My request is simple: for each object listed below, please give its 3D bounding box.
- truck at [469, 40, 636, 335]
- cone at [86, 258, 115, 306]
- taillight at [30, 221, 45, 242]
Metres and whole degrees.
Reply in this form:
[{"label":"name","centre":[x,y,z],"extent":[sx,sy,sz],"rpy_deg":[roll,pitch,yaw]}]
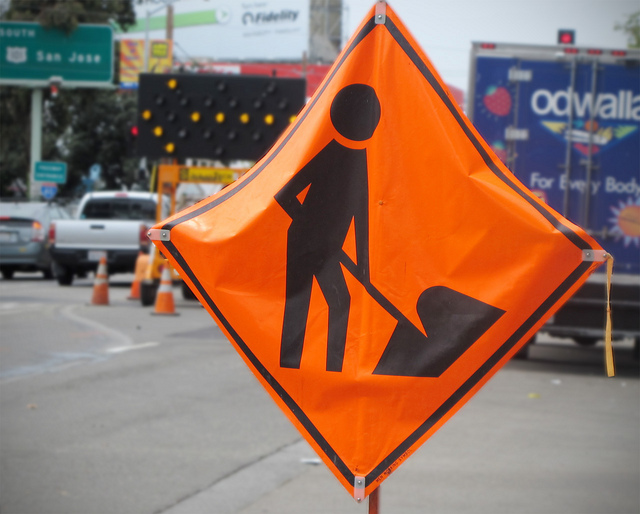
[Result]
[{"label":"truck","centre":[1.707,-0.583,7.192],"extent":[1.165,2.596,2.383],"rpy_deg":[0,2,8]},{"label":"cone","centre":[-1.384,0.160,6.358],"extent":[0.229,0.301,0.240],"rpy_deg":[5,-9,-28]},{"label":"taillight","centre":[-1.694,-0.154,6.022],"extent":[0.092,0.161,0.015],"rpy_deg":[1,-3,-1]}]
